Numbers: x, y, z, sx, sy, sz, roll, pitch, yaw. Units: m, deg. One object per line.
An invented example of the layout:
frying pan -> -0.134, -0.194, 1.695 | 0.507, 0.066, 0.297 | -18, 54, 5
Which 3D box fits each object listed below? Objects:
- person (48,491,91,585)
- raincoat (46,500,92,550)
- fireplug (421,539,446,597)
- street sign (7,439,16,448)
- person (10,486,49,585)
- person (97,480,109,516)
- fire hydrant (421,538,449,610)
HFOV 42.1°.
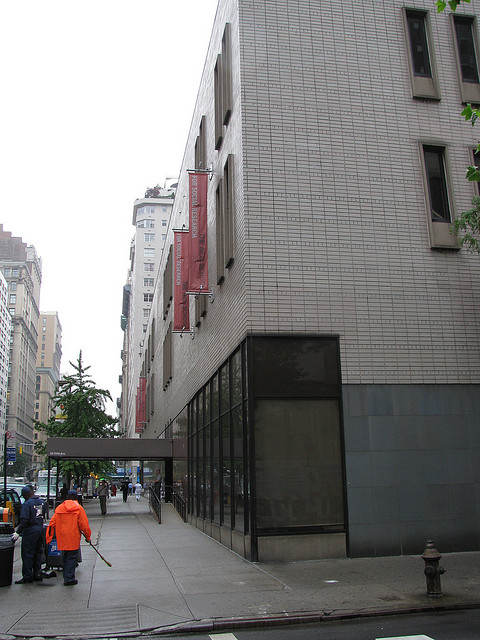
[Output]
person -> -2.894, 3.637, 10.495 | 0.568, 1.464, 1.179 | 5, -13, -30
raincoat -> -2.897, 3.445, 10.547 | 0.559, 0.779, 1.043 | 7, -15, -35
fireplug -> 2.602, 3.319, 8.413 | 0.268, 0.679, 0.648 | -4, -12, 17
street sign -> -8.187, 4.388, 22.223 | 0.299, 0.397, 0.183 | 0, -1, -15
person -> -3.679, 3.733, 10.913 | 0.579, 1.573, 1.383 | 2, -12, -17
person -> -6.650, 8.604, 30.037 | 0.364, 1.378, 2.368 | 1, -13, -12
fire hydrant -> 2.540, 3.290, 8.167 | 0.271, 0.733, 1.060 | -4, -12, 15
